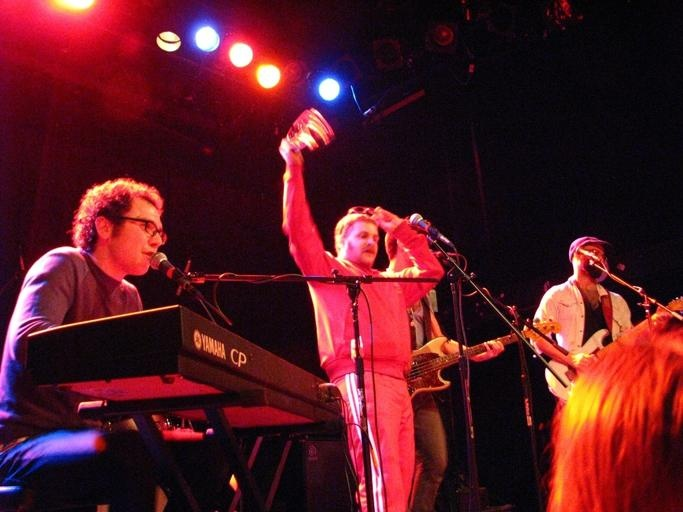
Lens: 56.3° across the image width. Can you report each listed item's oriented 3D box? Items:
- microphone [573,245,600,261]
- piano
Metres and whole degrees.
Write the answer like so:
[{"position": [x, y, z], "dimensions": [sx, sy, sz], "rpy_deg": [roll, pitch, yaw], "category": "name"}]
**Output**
[{"position": [2.064, -0.027, 5.341], "dimensions": [0.167, 0.118, 0.222], "rpy_deg": [0, 6, 21], "category": "microphone"}, {"position": [-0.645, 0.537, 2.919], "dimensions": [1.431, 0.340, 0.626], "rpy_deg": [19, -32, -36], "category": "piano"}]
